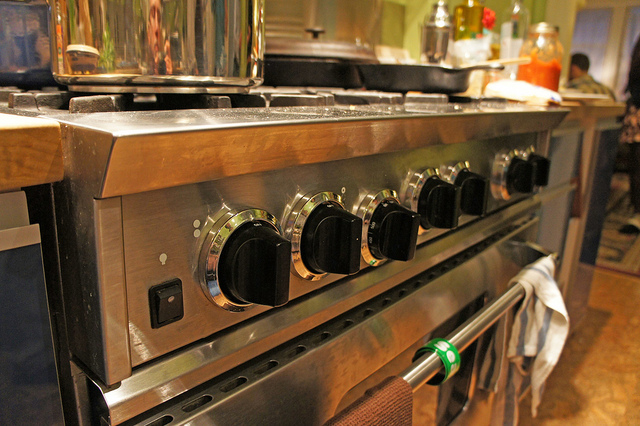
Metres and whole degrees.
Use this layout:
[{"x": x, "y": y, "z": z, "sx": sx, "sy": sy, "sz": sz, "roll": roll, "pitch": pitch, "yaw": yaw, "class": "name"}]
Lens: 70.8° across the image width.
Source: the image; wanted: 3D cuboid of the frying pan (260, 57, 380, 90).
[{"x": -0.034, "y": -0.290, "z": 0.961, "sx": 0.266, "sy": 0.065, "sz": 0.160, "roll": -12, "pitch": 12, "yaw": -37, "class": "frying pan"}]

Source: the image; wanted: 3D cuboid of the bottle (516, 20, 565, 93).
[{"x": 0.669, "y": -0.458, "z": 1.385, "sx": 0.127, "sy": 0.217, "sz": 0.124, "roll": -2, "pitch": 22, "yaw": 1, "class": "bottle"}]

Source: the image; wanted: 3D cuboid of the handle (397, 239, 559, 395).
[{"x": 0.259, "y": 0.174, "z": 0.748, "sx": 0.238, "sy": 0.208, "sz": 0.195, "roll": 22, "pitch": 29, "yaw": 27, "class": "handle"}]
